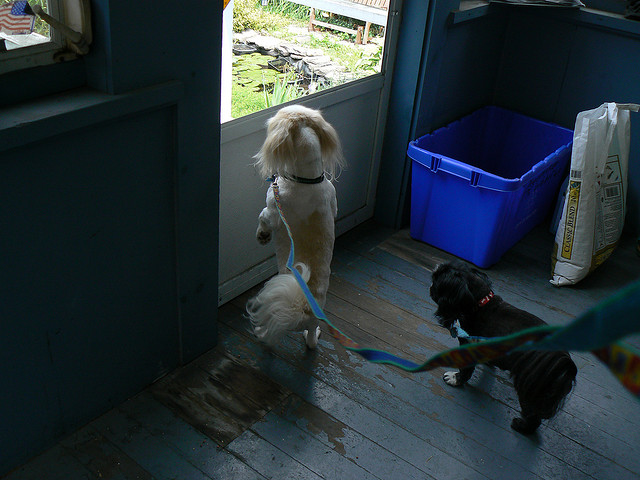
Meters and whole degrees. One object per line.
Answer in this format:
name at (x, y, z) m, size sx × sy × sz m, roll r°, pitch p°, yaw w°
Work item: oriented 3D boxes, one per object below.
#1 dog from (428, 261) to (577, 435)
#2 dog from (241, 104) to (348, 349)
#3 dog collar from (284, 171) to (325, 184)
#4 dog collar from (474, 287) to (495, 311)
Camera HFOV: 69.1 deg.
dog at (0.780, 0.502, 2.020) m, size 0.271 × 0.493 × 0.730 m, roll -28°, pitch 53°, yaw -27°
dog at (-0.086, -0.028, 2.117) m, size 0.481 × 1.088 × 0.632 m, roll 1°, pitch -7°, yaw -6°
dog collar at (-0.064, -0.273, 2.036) m, size 0.178 × 0.055 × 0.067 m, roll -5°, pitch 34°, yaw -9°
dog collar at (0.730, 0.261, 2.083) m, size 0.025 × 0.084 × 0.071 m, roll 37°, pitch 8°, yaw 0°
